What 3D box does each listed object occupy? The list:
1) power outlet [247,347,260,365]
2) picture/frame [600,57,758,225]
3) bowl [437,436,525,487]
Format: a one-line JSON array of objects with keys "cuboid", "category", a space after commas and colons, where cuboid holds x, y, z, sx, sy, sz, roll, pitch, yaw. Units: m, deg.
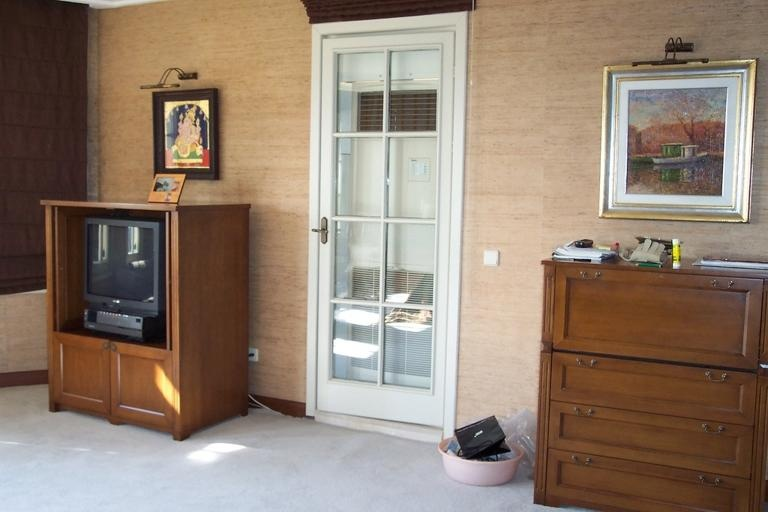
[{"cuboid": [-1.051, 0.806, 4.872, 0.137, 0.102, 0.029, 2, 0, 11], "category": "power outlet"}, {"cuboid": [1.830, -0.726, 3.819, 0.880, 0.976, 0.106, 3, 9, 17], "category": "picture/frame"}, {"cuboid": [0.619, 1.357, 4.042, 0.562, 0.167, 0.548, 2, 3, 0], "category": "bowl"}]
